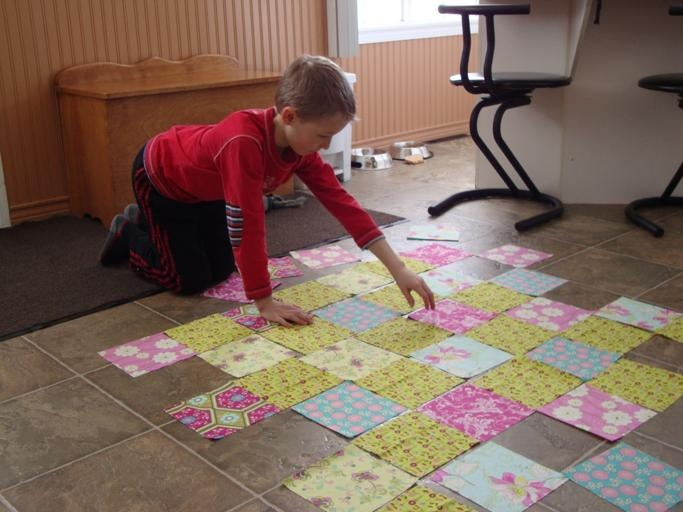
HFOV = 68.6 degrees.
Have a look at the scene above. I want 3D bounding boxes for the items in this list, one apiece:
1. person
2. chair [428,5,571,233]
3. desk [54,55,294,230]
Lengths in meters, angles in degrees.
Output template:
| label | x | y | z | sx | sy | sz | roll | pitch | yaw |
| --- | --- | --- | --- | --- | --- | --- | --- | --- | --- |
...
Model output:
| label | x | y | z | sx | sy | sz | roll | pitch | yaw |
| --- | --- | --- | --- | --- | --- | --- | --- | --- | --- |
| person | -0.305 | -0.249 | 1.845 | 1.584 | 0.791 | 0.459 | 11 | 17 | 33 |
| chair | 0.901 | -0.794 | 2.750 | 0.775 | 1.128 | 0.962 | 2 | 25 | 9 |
| desk | -0.865 | -0.520 | 2.354 | 1.309 | 0.671 | 0.451 | -11 | 33 | -24 |
